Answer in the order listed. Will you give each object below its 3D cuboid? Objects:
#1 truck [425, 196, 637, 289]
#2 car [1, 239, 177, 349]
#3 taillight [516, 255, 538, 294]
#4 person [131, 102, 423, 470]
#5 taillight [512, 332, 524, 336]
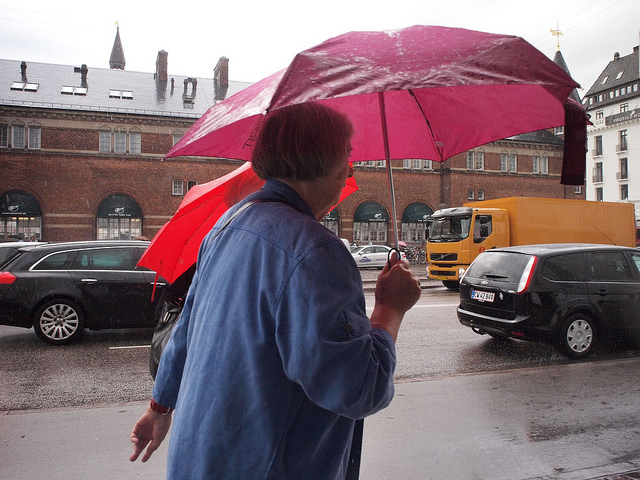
[{"bbox_3d":[7.234,-0.514,21.536,6.822,3.805,3.716,-3,1,-13],"label":"truck"},{"bbox_3d":[-4.056,0.819,9.914,3.861,1.442,1.798,-2,0,-27],"label":"car"},{"bbox_3d":[3.067,0.524,8.802,0.176,0.519,0.371,3,5,42],"label":"taillight"},{"bbox_3d":[-0.229,0.257,3.062,1.427,1.922,0.538,0,4,9],"label":"person"},{"bbox_3d":[2.897,1.379,8.714,0.166,0.051,0.017,3,5,38],"label":"taillight"}]
